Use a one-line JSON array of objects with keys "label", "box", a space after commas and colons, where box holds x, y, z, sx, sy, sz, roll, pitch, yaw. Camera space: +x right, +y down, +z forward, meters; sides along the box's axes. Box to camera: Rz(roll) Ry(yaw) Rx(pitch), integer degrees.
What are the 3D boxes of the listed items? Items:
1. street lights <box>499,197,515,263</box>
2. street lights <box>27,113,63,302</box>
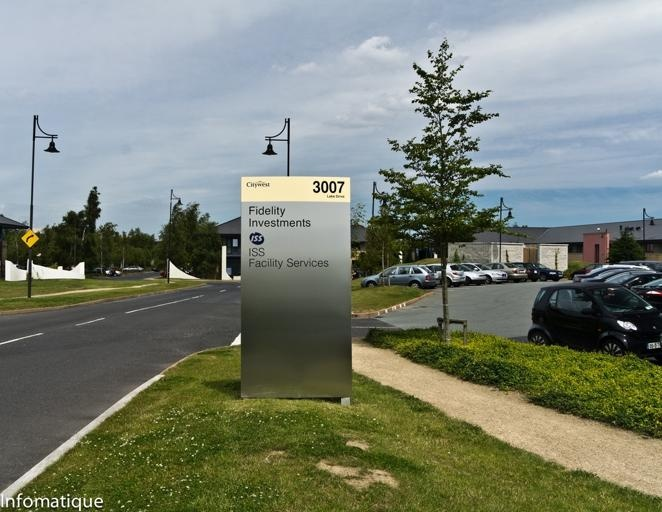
[{"label": "street lights", "box": [4.540, -0.702, 16.642, 0.218, 1.655, 0.428, -21, 27, -39]}, {"label": "street lights", "box": [-10.072, -2.453, 22.344, 0.442, 4.560, 0.977, 12, 12, 35]}]
